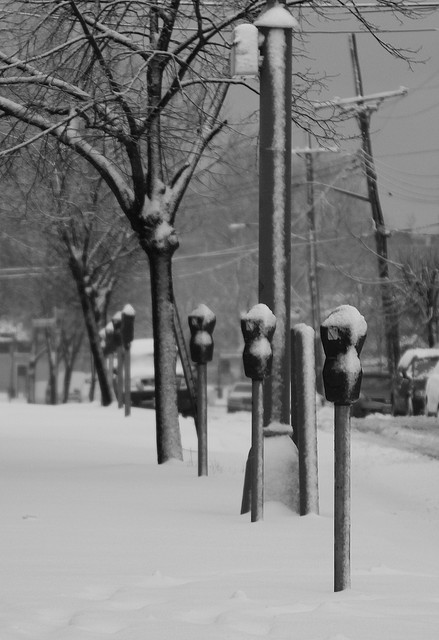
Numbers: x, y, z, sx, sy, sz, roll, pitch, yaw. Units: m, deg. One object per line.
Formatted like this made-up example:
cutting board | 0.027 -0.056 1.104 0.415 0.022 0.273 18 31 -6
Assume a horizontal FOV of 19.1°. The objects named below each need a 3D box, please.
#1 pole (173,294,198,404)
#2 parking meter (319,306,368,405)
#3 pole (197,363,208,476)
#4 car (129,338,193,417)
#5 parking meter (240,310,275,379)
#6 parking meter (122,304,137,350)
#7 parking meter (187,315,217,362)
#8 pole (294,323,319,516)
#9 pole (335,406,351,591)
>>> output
pole | -0.320 0.269 13.267 0.159 1.063 0.212 -1 0 -35
parking meter | 0.616 0.174 6.468 0.227 0.477 0.328 -2 -3 7
pole | -0.131 0.736 9.779 0.064 0.832 0.249 -2 -3 -2
car | -1.207 1.068 24.172 0.911 1.437 2.251 -2 -4 -2
parking meter | 0.228 0.145 7.746 0.166 0.460 0.139 -1 -2 38
parking meter | -1.300 0.120 18.584 0.186 0.878 0.214 -16 30 -38
parking meter | -0.132 0.088 9.875 0.210 0.460 0.215 7 24 15
pole | 0.538 0.598 8.094 0.120 1.166 0.373 -2 -3 3
pole | 0.591 0.819 6.209 0.108 0.728 0.168 1 -1 0
